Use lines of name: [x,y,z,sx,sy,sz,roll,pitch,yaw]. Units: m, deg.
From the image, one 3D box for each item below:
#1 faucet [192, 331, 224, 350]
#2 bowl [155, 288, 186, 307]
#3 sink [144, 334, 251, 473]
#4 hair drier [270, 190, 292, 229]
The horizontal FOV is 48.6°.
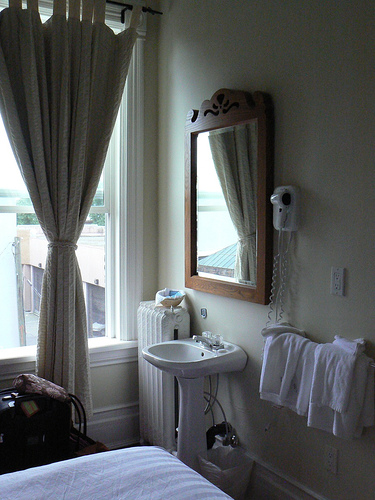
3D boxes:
faucet: [0.105,0.442,2.092,0.058,0.080,0.192,-1,4,-34]
bowl: [-0.089,0.282,2.457,0.175,0.085,0.201,-7,5,-23]
sink: [0.016,0.775,2.060,0.363,0.620,0.389,-3,9,-14]
hair drier: [0.379,-0.181,1.716,0.095,0.235,0.092,2,46,11]
